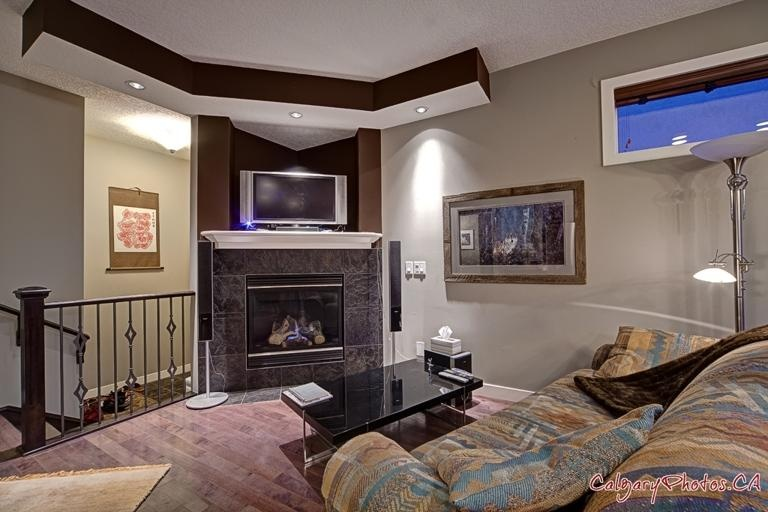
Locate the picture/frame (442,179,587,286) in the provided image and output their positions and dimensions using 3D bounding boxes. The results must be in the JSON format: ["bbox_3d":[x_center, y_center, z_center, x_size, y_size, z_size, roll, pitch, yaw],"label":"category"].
[{"bbox_3d":[1.436,-0.247,5.146,1.251,0.841,0.059,0,0,29],"label":"picture/frame"}]

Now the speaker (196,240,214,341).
[{"bbox_3d":[-1.936,0.376,5.241,0.158,1.061,0.165,0,-1,-22],"label":"speaker"}]

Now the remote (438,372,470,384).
[{"bbox_3d":[0.674,1.162,4.657,0.188,0.038,0.103,4,1,40],"label":"remote"}]

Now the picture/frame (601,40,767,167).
[{"bbox_3d":[2.858,-1.425,4.530,1.414,0.814,0.060,-1,-2,26],"label":"picture/frame"}]

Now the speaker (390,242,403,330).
[{"bbox_3d":[0.120,0.341,5.504,0.132,1.010,0.126,-1,-1,-5],"label":"speaker"}]

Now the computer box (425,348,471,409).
[{"bbox_3d":[0.759,1.204,5.144,0.223,0.368,0.353,-8,4,-24],"label":"computer box"}]
